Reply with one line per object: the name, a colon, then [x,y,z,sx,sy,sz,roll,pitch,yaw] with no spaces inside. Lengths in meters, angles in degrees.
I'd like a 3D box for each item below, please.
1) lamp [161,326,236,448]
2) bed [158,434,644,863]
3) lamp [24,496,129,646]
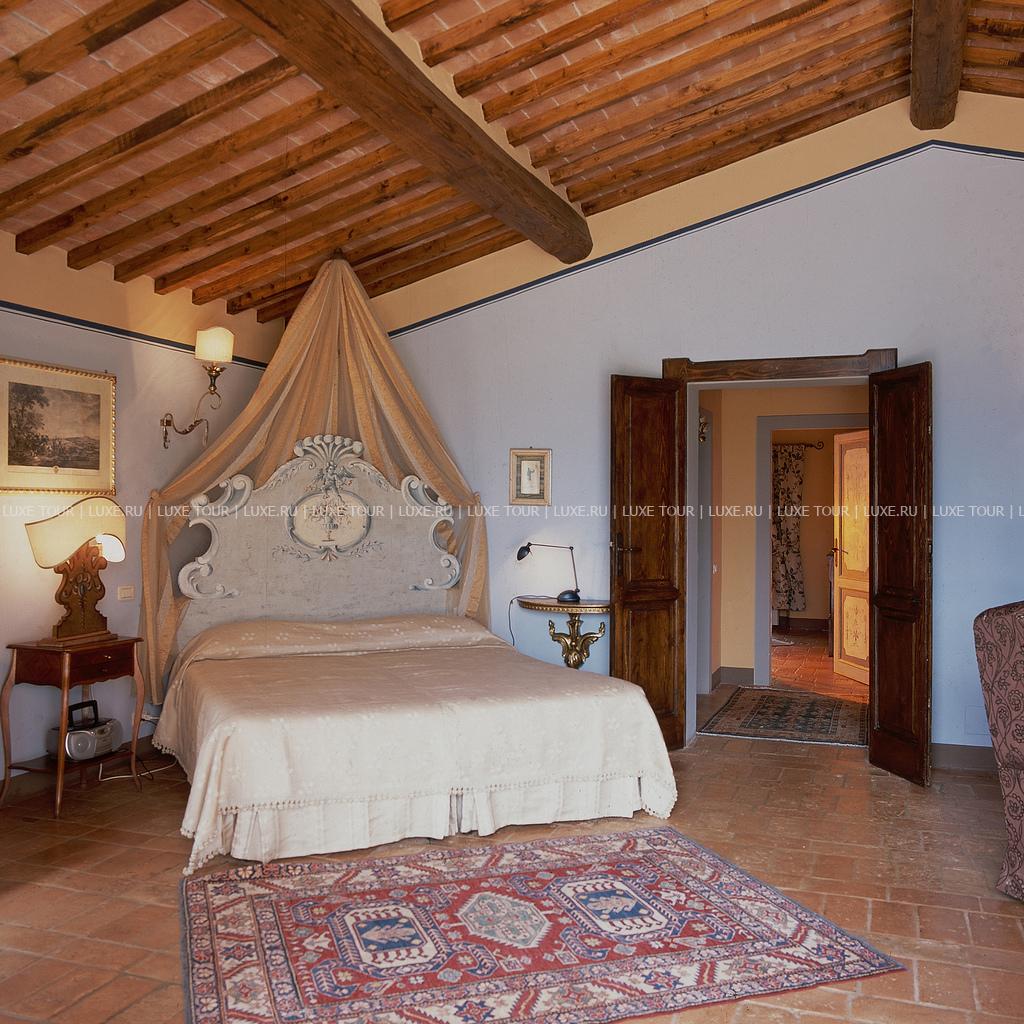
lamp: [-1.874,-0.791,5.506,0.408,0.811,0.628,1,-1,8]
bed: [-0.681,0.463,4.673,2.204,1.936,2.113,1,-2,-23]
lamp: [-2.216,0.276,4.431,0.431,0.725,0.465,1,-2,-22]
